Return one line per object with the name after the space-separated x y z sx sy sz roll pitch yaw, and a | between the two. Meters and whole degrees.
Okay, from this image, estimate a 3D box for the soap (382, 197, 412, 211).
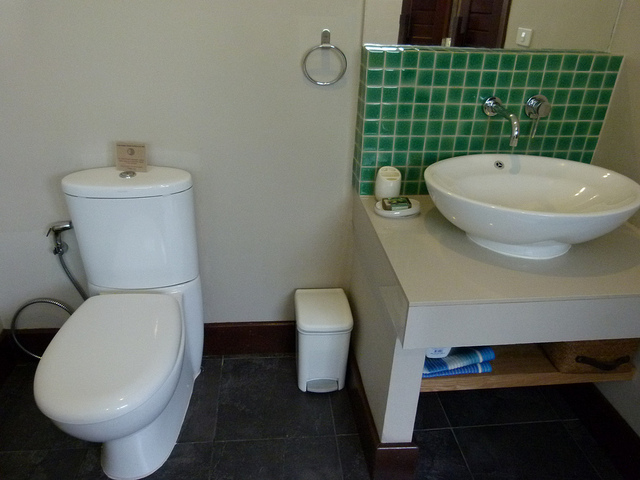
0.290 -0.136 1.838 0.111 0.022 0.089 5 30 8 | soap

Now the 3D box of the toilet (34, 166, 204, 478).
-0.743 0.324 1.867 0.469 0.973 0.811 0 29 -1 | toilet
